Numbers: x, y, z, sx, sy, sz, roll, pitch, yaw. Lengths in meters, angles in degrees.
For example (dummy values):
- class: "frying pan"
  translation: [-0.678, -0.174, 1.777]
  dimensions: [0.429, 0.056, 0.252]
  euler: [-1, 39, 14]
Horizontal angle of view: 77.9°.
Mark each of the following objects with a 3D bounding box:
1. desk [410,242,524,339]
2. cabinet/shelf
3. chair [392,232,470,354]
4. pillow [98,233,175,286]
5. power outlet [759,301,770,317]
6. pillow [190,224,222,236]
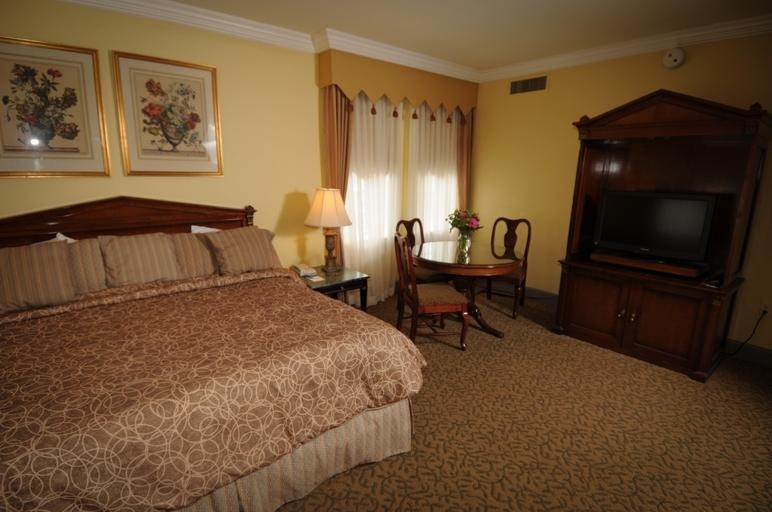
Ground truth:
- class: "desk"
  translation: [0.971, 0.403, 5.614]
  dimensions: [1.036, 0.732, 1.026]
  euler: [5, 16, 21]
- class: "cabinet/shelf"
  translation: [2.945, -0.314, 5.222]
  dimensions: [1.678, 2.821, 0.960]
  euler: [11, 17, 38]
- class: "chair"
  translation: [0.527, 0.370, 5.379]
  dimensions: [0.874, 1.251, 0.806]
  euler: [-6, 14, -32]
- class: "pillow"
  translation: [-2.333, 0.028, 4.529]
  dimensions: [0.547, 0.488, 0.156]
  euler: [-13, -11, -45]
- class: "power outlet"
  translation: [4.029, 0.563, 5.119]
  dimensions: [0.119, 0.146, 0.059]
  euler: [2, -10, 38]
- class: "pillow"
  translation: [-1.924, -0.283, 5.076]
  dimensions: [0.212, 0.042, 0.313]
  euler: [20, 12, 19]
